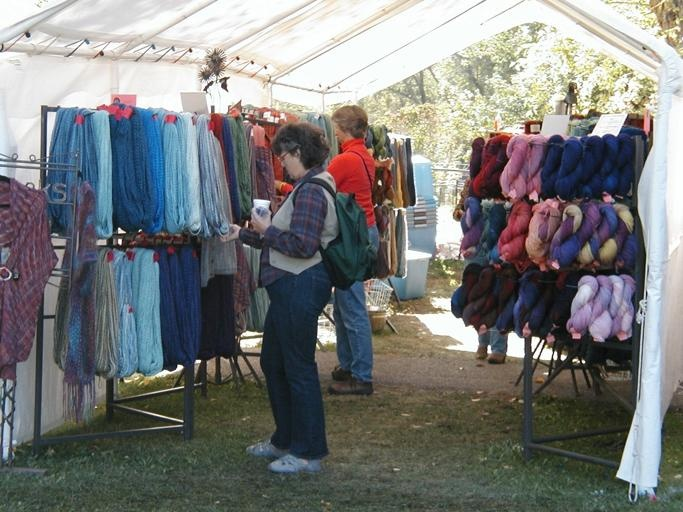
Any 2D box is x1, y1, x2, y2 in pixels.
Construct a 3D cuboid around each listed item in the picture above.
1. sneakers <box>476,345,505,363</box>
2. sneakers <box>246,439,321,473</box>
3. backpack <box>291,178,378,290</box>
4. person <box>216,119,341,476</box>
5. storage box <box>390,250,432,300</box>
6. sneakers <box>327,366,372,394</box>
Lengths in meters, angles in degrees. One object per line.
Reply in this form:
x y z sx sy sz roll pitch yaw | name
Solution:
1.560 1.049 8.339 0.117 0.172 0.354 3 -13 -22 | sneakers
-0.435 1.362 5.531 0.538 0.254 0.192 -1 3 16 | sneakers
-0.008 -0.159 5.448 0.478 0.762 0.478 -5 3 9 | backpack
-0.342 0.286 5.405 0.614 2.363 0.408 6 8 38 | person
0.955 0.297 11.909 0.670 0.643 0.778 -2 9 -25 | storage box
0.102 1.137 7.145 0.413 0.208 0.171 -3 0 8 | sneakers
